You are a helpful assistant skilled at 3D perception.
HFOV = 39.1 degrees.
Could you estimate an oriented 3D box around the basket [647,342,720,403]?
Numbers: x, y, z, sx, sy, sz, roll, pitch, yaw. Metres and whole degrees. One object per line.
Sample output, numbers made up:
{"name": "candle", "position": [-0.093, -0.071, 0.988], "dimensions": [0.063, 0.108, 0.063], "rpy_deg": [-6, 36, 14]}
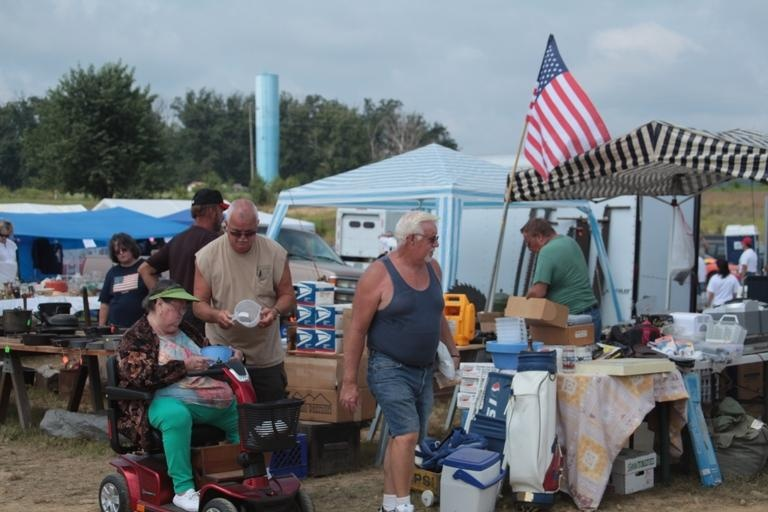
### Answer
{"name": "basket", "position": [3.453, 1.335, 12.528], "dimensions": [0.963, 0.697, 0.388], "rpy_deg": [-6, -1, -13]}

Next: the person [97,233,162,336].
{"name": "person", "position": [-3.408, 0.404, 14.098], "dimensions": [0.593, 1.879, 0.549], "rpy_deg": [0, 0, 9]}

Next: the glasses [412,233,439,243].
{"name": "glasses", "position": [0.462, -0.182, 11.450], "dimensions": [0.136, 0.109, 0.328], "rpy_deg": [1, 1, 44]}

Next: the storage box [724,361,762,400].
{"name": "storage box", "position": [4.571, 1.513, 13.725], "dimensions": [0.600, 0.608, 0.437], "rpy_deg": [-1, -4, 20]}

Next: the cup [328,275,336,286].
{"name": "cup", "position": [-0.801, 0.382, 16.400], "dimensions": [0.088, 0.128, 0.121], "rpy_deg": [4, -16, 8]}

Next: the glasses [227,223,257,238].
{"name": "glasses", "position": [-1.534, -0.259, 11.567], "dimensions": [0.322, 0.135, 0.168], "rpy_deg": [0, 1, -9]}

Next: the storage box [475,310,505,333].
{"name": "storage box", "position": [1.417, 0.893, 14.651], "dimensions": [0.288, 0.187, 0.291], "rpy_deg": [0, -3, -26]}

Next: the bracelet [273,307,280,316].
{"name": "bracelet", "position": [-1.164, 0.604, 11.630], "dimensions": [0.032, 0.073, 0.094], "rpy_deg": [1, 1, 25]}

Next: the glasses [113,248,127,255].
{"name": "glasses", "position": [-3.412, -0.057, 13.861], "dimensions": [0.097, 0.103, 0.035], "rpy_deg": [-6, 43, 10]}

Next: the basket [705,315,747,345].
{"name": "basket", "position": [4.112, 0.915, 12.952], "dimensions": [0.445, 0.454, 0.363], "rpy_deg": [1, 3, 11]}

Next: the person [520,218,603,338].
{"name": "person", "position": [2.128, 0.307, 13.576], "dimensions": [0.812, 1.609, 1.424], "rpy_deg": [0, 0, -9]}

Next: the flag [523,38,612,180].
{"name": "flag", "position": [2.296, -1.963, 14.139], "dimensions": [1.147, 1.849, 0.203], "rpy_deg": [-6, -10, 20]}

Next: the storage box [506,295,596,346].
{"name": "storage box", "position": [1.959, 0.781, 12.433], "dimensions": [0.764, 0.645, 1.000], "rpy_deg": [1, -1, -33]}

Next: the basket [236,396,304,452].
{"name": "basket", "position": [-1.163, 1.729, 10.984], "dimensions": [0.649, 0.531, 0.156], "rpy_deg": [0, 1, -6]}

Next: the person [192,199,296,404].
{"name": "person", "position": [-1.577, 0.424, 11.908], "dimensions": [0.913, 2.312, 1.003], "rpy_deg": [0, 0, -17]}

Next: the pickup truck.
{"name": "pickup truck", "position": [-2.267, 0.133, 18.444], "dimensions": [3.640, 1.811, 2.163], "rpy_deg": [-1, 3, -1]}
